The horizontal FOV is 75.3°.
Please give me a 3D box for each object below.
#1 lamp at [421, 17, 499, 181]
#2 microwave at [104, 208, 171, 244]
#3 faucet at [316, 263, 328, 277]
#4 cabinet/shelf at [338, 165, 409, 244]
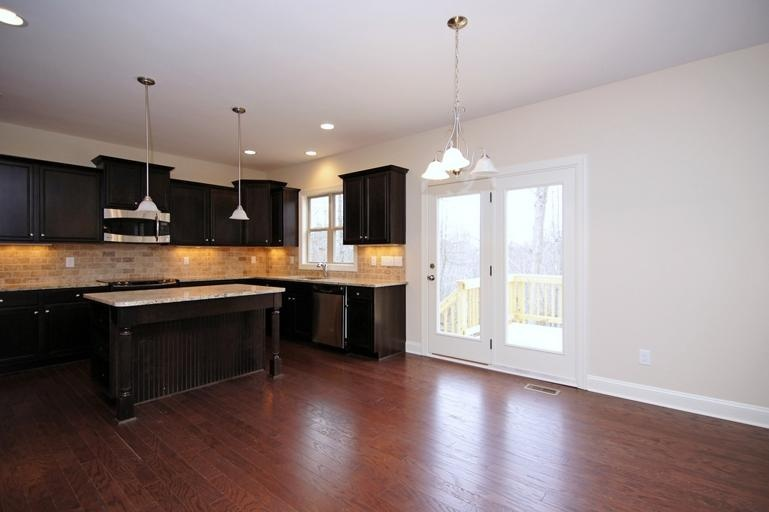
[{"bbox_3d":[0.762,-1.650,5.133,0.844,1.483,0.979,14,24,42],"label":"lamp"},{"bbox_3d":[-3.487,-0.395,7.287,0.921,0.539,0.564,0,-8,-3],"label":"microwave"},{"bbox_3d":[-1.013,0.217,8.152,0.141,0.232,0.454,0,1,-19],"label":"faucet"},{"bbox_3d":[-0.138,-0.699,7.383,0.514,1.118,1.160,-2,2,-43],"label":"cabinet/shelf"}]
